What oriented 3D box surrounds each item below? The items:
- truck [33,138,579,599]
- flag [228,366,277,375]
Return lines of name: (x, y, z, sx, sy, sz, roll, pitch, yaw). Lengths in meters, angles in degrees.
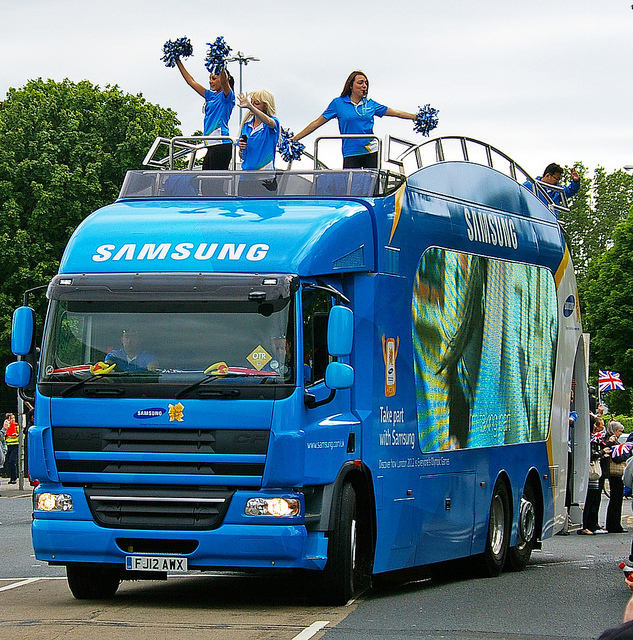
truck: (-0.204, 0.694, 12.670, 3.205, 3.837, 7.991, -3, -6, 29)
flag: (-0.489, 0.382, 8.854, 0.360, 0.062, 0.035, 0, -7, -2)
